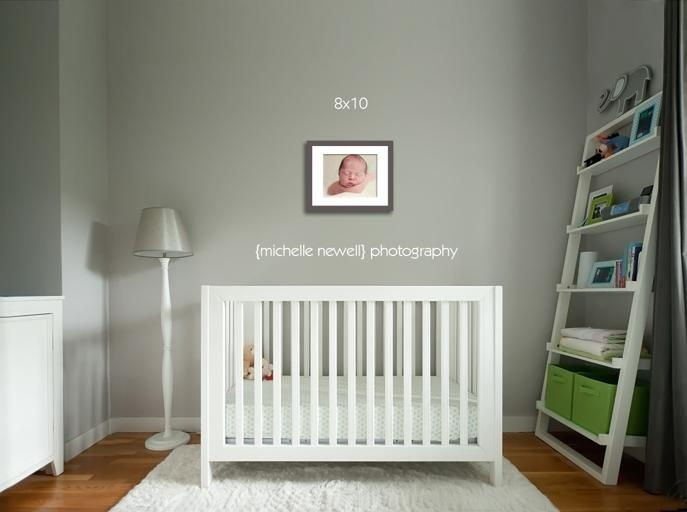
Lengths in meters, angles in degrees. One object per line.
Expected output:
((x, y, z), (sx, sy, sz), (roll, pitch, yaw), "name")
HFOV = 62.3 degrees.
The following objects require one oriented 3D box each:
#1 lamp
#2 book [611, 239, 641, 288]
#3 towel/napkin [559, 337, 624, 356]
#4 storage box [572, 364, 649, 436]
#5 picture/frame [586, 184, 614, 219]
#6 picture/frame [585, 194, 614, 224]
((-1.216, 0.466, 3.803), (0.386, 1.583, 0.345), (1, 0, -13), "lamp")
((1.724, 0.054, 3.472), (0.253, 0.264, 0.147), (11, -6, -44), "book")
((1.514, 0.571, 3.573), (0.130, 0.114, 0.438), (1, -1, -35), "towel/napkin")
((1.610, 0.900, 3.469), (0.281, 0.349, 0.465), (4, -5, -9), "storage box")
((1.695, -0.356, 3.770), (0.021, 0.279, 0.200), (21, -23, -14), "picture/frame")
((1.680, -0.308, 3.738), (0.020, 0.200, 0.149), (31, -42, 0), "picture/frame")
